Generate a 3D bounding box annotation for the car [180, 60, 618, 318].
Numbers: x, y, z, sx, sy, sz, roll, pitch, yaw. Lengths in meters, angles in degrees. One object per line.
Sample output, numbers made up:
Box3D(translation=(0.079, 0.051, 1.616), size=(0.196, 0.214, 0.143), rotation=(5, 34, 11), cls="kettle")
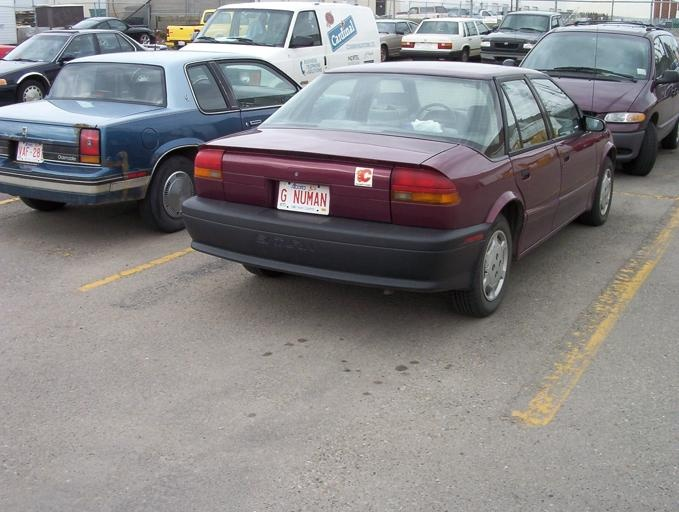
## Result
Box3D(translation=(0.700, -0.655, 4.077), size=(3.421, 1.990, 1.937), rotation=(-20, 29, -37), cls="car")
